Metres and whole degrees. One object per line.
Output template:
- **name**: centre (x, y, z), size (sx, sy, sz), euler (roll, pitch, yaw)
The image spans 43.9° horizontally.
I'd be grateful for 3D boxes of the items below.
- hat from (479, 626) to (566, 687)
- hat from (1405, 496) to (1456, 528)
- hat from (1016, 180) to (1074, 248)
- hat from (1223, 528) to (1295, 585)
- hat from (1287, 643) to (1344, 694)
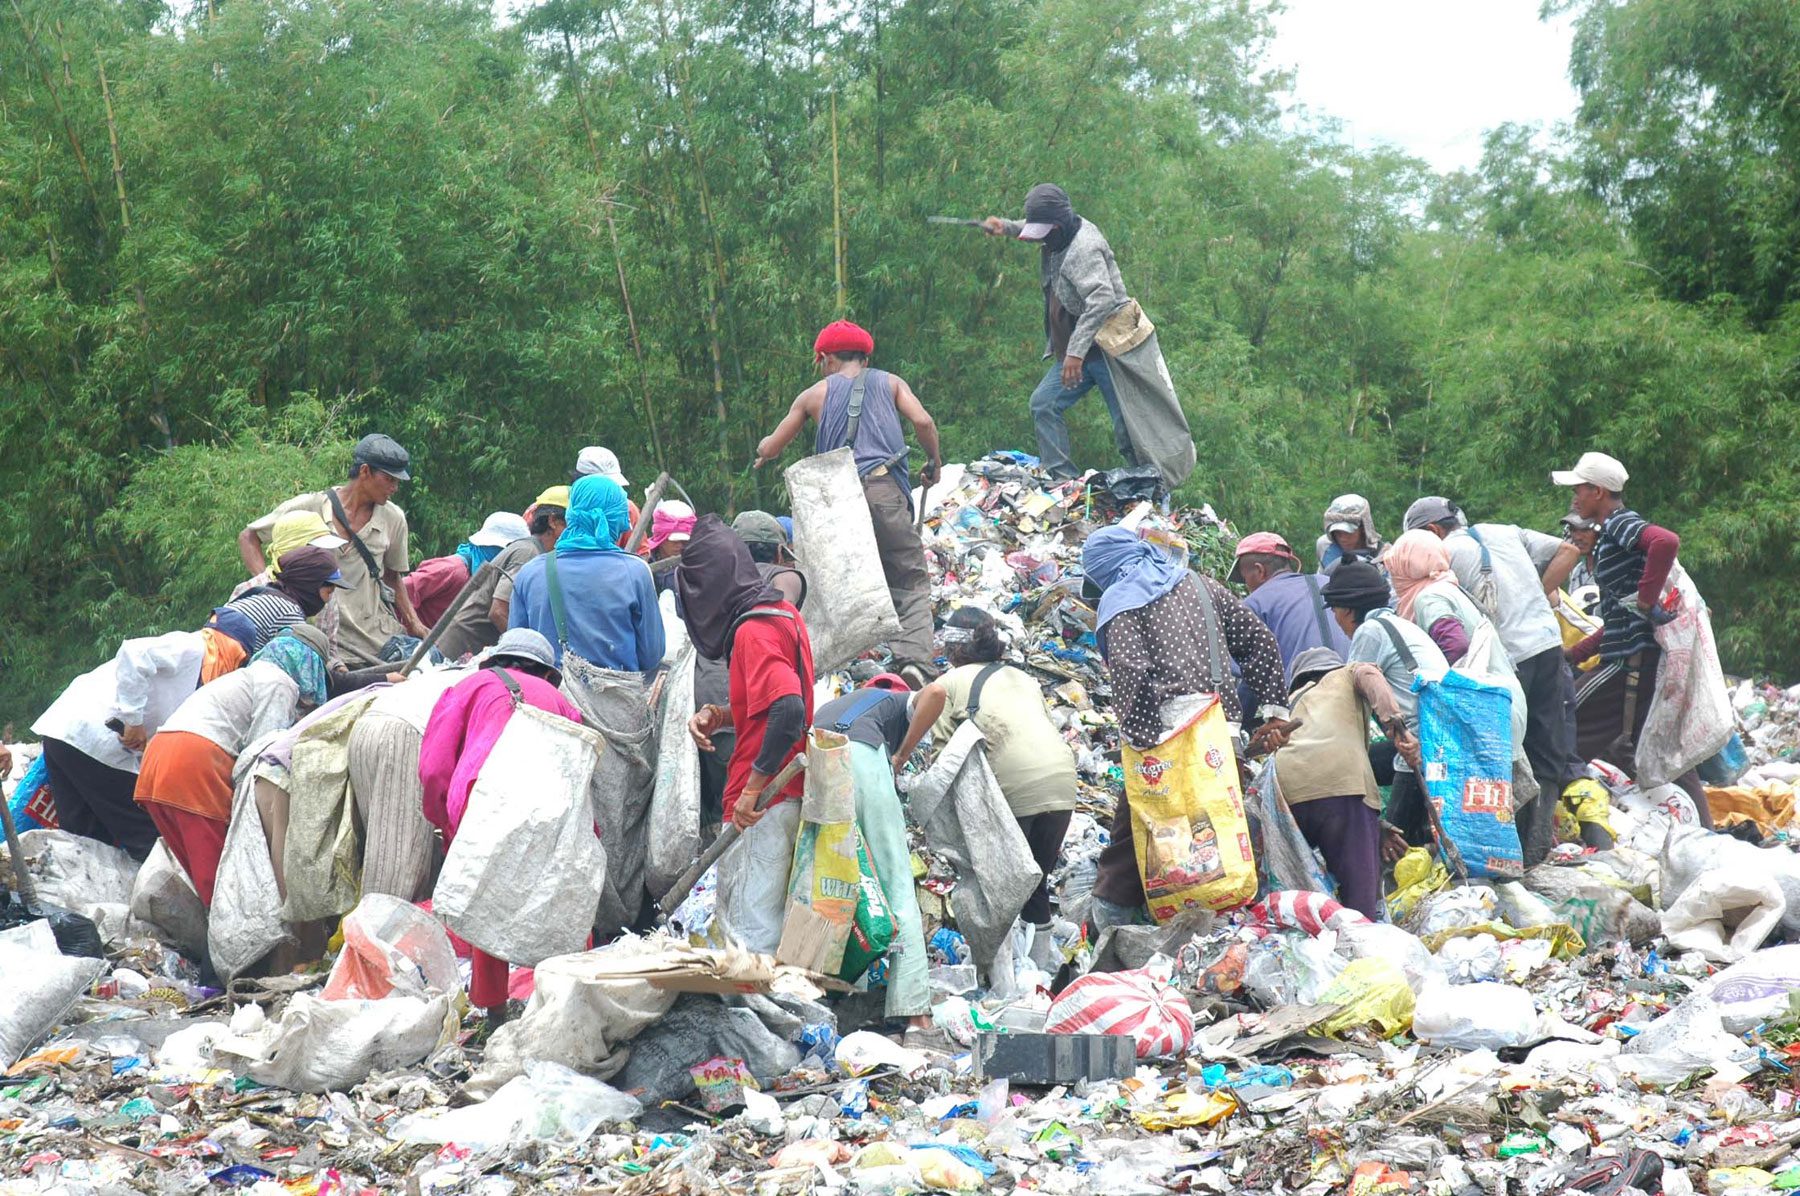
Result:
- **hat**: centre (-2.733, 0.413, 16.115), size (0.592, 0.395, 0.357), euler (0, -11, -21)
- **hat**: centre (4.427, -0.683, 18.759), size (0.396, 0.220, 0.284), euler (-1, 17, 32)
- **hat**: centre (1.360, -3.498, 20.256), size (0.408, 0.377, 0.604), euler (10, 36, 18)
- **hat**: centre (2.901, -0.394, 18.478), size (0.507, 0.359, 0.678), euler (1, -12, -25)
- **hat**: centre (3.154, 0.549, 16.890), size (0.456, 0.387, 0.649), euler (-6, -11, 10)
